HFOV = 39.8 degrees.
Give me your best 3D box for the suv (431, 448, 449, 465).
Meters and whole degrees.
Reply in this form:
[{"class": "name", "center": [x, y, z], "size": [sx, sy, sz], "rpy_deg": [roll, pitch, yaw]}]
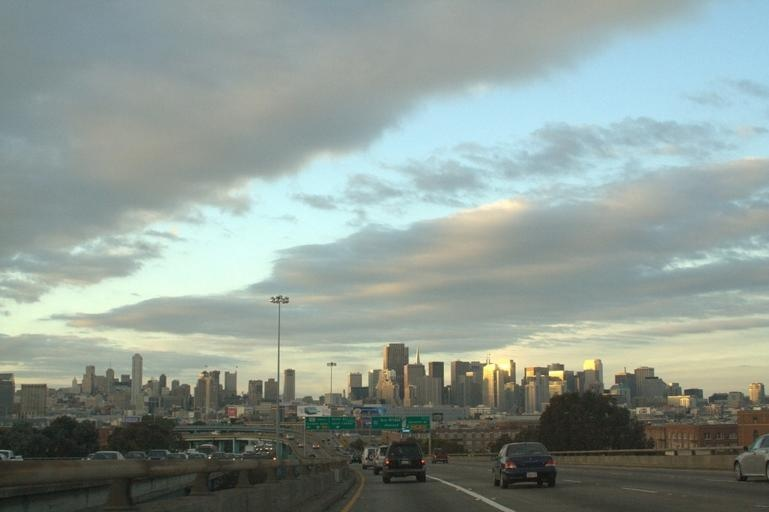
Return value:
[{"class": "suv", "center": [6.890, 25.473, 135.137], "size": [1.749, 1.367, 3.863], "rpy_deg": [1, -6, 2]}]
